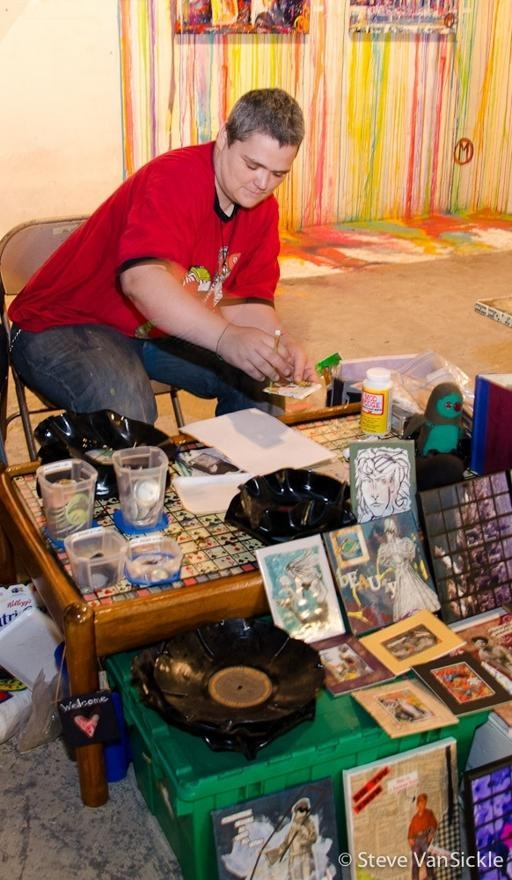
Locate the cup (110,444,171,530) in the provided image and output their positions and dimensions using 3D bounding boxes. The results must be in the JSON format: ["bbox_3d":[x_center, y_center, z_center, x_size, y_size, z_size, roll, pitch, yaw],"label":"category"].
[{"bbox_3d":[-0.228,0.080,1.290,0.139,0.189,0.151,1,14,0],"label":"cup"}]

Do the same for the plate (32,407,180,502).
[{"bbox_3d":[-0.401,-0.009,1.457,0.212,0.100,0.263,-8,34,-39],"label":"plate"}]

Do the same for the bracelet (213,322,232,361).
[{"bbox_3d":[-0.095,-0.257,1.594,0.014,0.068,0.060,15,19,19],"label":"bracelet"}]

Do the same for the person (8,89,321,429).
[{"bbox_3d":[-0.342,-0.521,1.902,0.970,0.938,0.728,1,9,5],"label":"person"}]

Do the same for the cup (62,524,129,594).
[{"bbox_3d":[-0.287,0.213,1.074,0.106,0.072,0.129,-4,11,-21],"label":"cup"}]

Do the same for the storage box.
[{"bbox_3d":[0.093,0.415,1.010,0.526,0.271,0.353,-7,20,-22],"label":"storage box"}]
